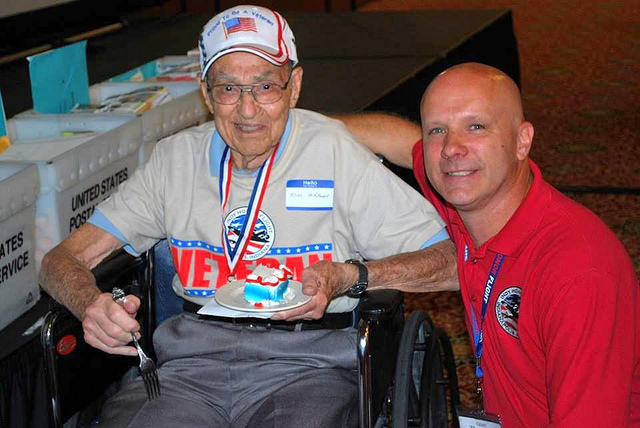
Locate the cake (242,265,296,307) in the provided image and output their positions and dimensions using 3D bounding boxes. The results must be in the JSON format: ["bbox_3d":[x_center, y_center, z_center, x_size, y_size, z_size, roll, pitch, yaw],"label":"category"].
[{"bbox_3d":[-0.181,0.276,2.076,0.176,0.087,0.232,3,2,28],"label":"cake"}]
